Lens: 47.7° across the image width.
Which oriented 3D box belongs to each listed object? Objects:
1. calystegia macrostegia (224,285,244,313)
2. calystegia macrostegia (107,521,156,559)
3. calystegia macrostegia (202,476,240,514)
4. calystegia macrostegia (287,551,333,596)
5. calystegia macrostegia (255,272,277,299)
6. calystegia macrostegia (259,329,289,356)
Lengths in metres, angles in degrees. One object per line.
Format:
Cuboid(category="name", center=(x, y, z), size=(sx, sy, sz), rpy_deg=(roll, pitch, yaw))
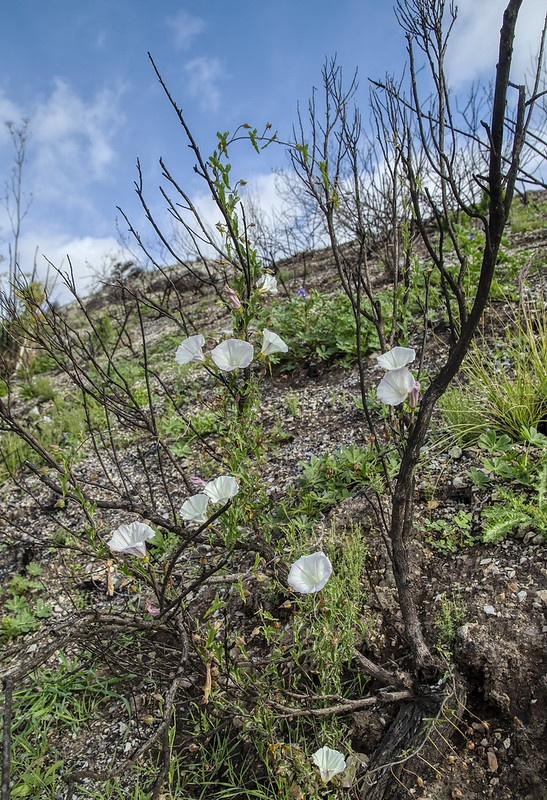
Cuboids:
Cuboid(category="calystegia macrostegia", center=(-0.154, -0.389, 2.359), size=(0.040, 0.106, 0.145), rpy_deg=(-17, 14, -1))
Cuboid(category="calystegia macrostegia", center=(-0.435, 0.439, 1.954), size=(0.121, 0.077, 0.130), rpy_deg=(23, 49, 35))
Cuboid(category="calystegia macrostegia", center=(-0.178, 0.325, 2.060), size=(0.098, 0.048, 0.107), rpy_deg=(11, 66, 23))
Cuboid(category="calystegia macrostegia", center=(0.129, 0.569, 2.005), size=(0.146, 0.136, 0.089), rpy_deg=(-30, -31, 6))
Cuboid(category="calystegia macrostegia", center=(-0.033, -0.474, 2.548), size=(0.103, 0.104, 0.047), rpy_deg=(18, -5, 8))
Cuboid(category="calystegia macrostegia", center=(-0.022, -0.209, 2.404), size=(0.083, 0.104, 0.106), rpy_deg=(-46, -10, 16))
